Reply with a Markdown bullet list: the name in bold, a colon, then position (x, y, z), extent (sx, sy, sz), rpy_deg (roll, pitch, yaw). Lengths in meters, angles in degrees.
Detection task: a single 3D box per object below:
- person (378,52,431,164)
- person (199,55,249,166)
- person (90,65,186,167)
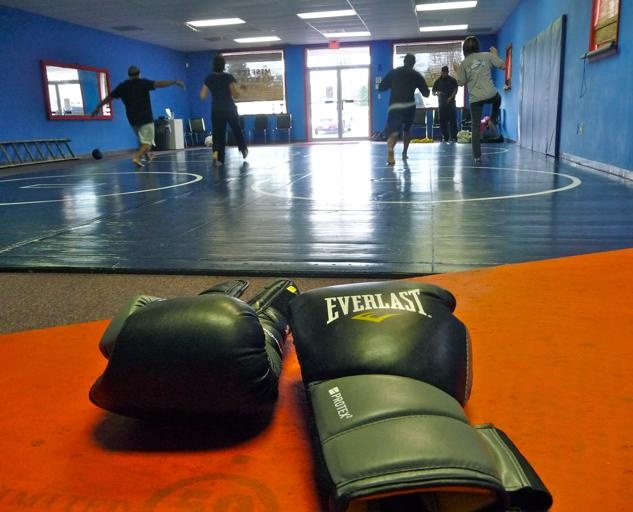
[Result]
- **person**: position (1.357, -2.367, 7.350), extent (0.783, 1.823, 1.577), rpy_deg (2, 13, 11)
- **person**: position (-1.560, -2.432, 7.817), extent (0.697, 1.753, 0.703), rpy_deg (-5, 14, -17)
- **person**: position (-3.170, -2.498, 8.247), extent (0.869, 1.816, 1.577), rpy_deg (-6, 14, -21)
